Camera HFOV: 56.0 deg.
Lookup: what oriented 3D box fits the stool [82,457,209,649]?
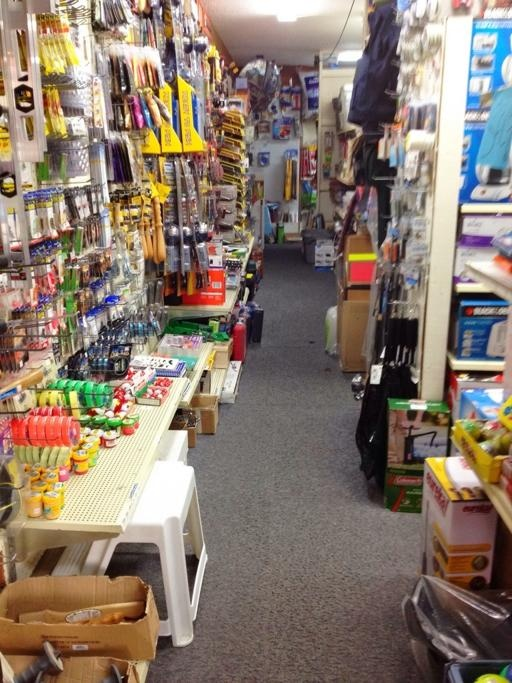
[{"bbox_3d":[-0.277,0.757,1.751,0.471,0.563,0.508,3,17,4],"label":"stool"}]

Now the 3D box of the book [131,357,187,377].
[{"bbox_3d":[-0.507,0.121,2.540,0.144,0.039,0.151,7,13,3],"label":"book"}]
